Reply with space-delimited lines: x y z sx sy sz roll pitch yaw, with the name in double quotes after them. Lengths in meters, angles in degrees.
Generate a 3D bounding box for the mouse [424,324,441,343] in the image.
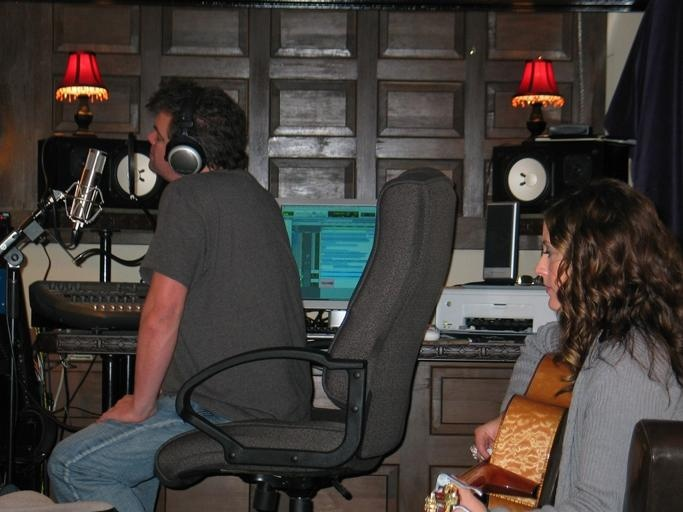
0.323 0.271 3.343 0.068 0.042 0.068 1 -2 7 "mouse"

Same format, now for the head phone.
-0.484 -0.405 2.967 0.134 0.264 0.220 6 -20 -1 "head phone"

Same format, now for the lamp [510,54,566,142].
0.943 -0.753 4.487 0.263 0.426 0.425 3 1 10 "lamp"

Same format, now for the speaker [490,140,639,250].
0.907 -0.325 4.152 0.457 0.374 0.258 -2 14 8 "speaker"

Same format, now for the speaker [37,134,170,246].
-1.030 -0.344 4.058 0.540 0.311 0.289 4 -1 -34 "speaker"
